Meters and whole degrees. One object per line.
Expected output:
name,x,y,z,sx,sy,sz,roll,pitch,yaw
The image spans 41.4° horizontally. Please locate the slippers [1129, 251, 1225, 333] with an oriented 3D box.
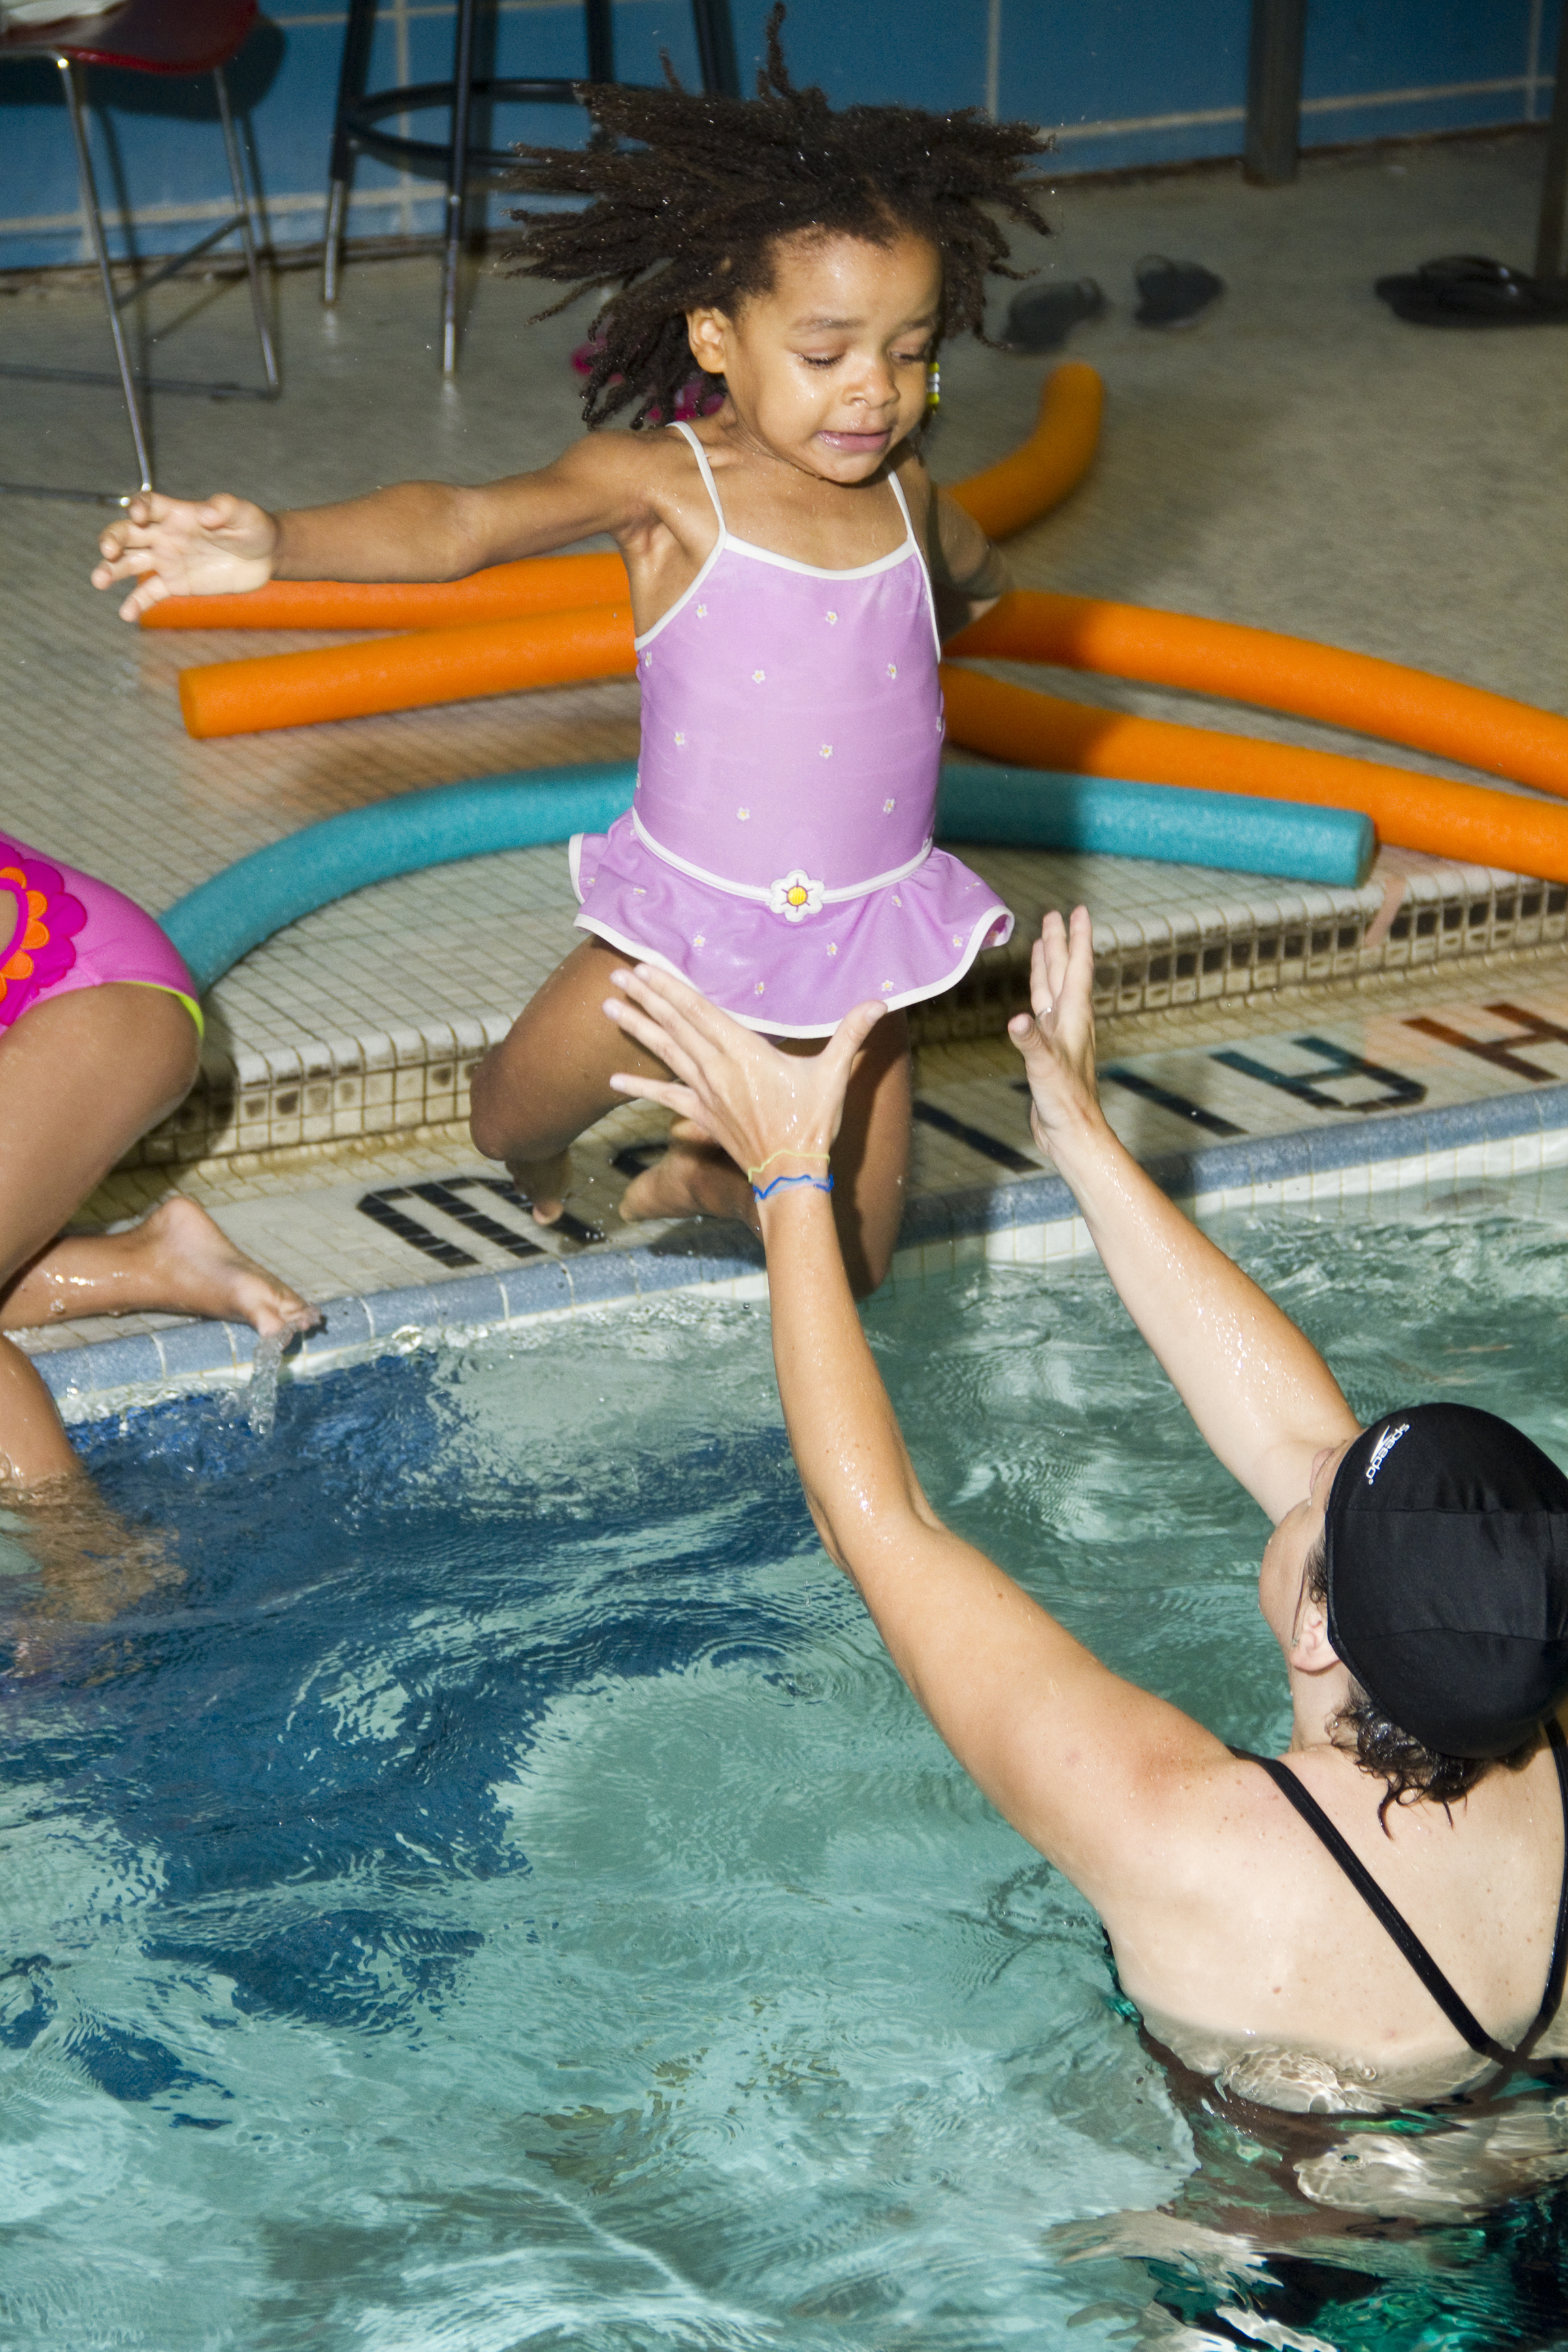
slippers,1.264,-2.846,6.683,0.291,0.213,0.331,4,23,8
